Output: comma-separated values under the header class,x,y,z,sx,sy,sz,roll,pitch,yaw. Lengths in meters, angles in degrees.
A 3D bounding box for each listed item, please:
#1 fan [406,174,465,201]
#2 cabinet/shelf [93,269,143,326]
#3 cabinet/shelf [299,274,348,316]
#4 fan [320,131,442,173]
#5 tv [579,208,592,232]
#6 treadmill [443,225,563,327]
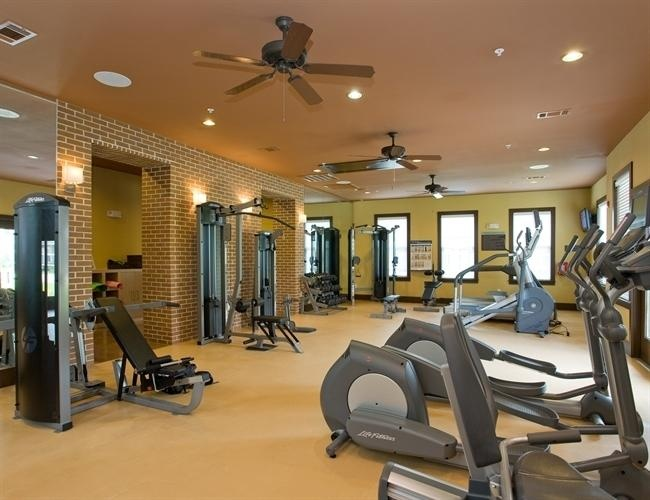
class,x,y,z,sx,sy,sz,roll,pitch,yaw
fan,2.380,-1.307,9.815,0.580,0.435,1.293,2,6,13
cabinet/shelf,-3.602,0.794,8.688,0.580,0.967,1.053,6,4,27
cabinet/shelf,-0.111,0.965,10.431,0.837,0.859,1.553,-3,-4,24
fan,0.970,-1.387,6.646,1.282,0.260,1.149,3,-1,25
tv,5.623,-0.630,10.298,0.186,0.526,0.962,4,7,27
treadmill,3.345,0.454,8.784,1.622,1.955,3.117,3,6,19
